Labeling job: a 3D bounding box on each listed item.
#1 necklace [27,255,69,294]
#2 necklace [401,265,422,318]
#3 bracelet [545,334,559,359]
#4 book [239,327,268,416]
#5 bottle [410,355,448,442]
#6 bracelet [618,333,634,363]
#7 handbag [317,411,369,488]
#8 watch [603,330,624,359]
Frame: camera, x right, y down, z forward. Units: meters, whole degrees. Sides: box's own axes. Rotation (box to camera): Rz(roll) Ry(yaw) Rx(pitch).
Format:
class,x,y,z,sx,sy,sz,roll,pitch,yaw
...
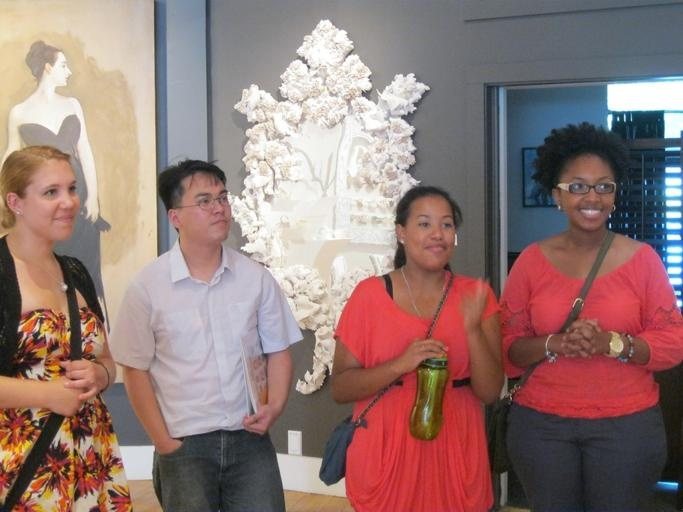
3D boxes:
class,x,y,z,sx,sy,sz,roll,pitch,yaw
necklace,-1.184,0.075,2.366,0.146,0.141,0.044,1,-8,1
necklace,0.290,0.150,2.483,0.048,0.191,0.021,-23,-18,-1
bracelet,0.898,0.382,2.506,0.038,0.094,0.072,3,15,21
book,-0.388,0.511,2.568,0.035,0.344,0.358,-11,-7,14
bottle,0.340,0.556,2.297,0.151,0.341,0.103,-3,3,-11
bracelet,1.189,0.383,2.441,0.024,0.089,0.092,10,-11,4
handbag,-0.033,0.840,2.552,0.113,0.290,0.340,23,-24,-16
watch,1.124,0.365,2.417,0.023,0.091,0.089,4,31,36
